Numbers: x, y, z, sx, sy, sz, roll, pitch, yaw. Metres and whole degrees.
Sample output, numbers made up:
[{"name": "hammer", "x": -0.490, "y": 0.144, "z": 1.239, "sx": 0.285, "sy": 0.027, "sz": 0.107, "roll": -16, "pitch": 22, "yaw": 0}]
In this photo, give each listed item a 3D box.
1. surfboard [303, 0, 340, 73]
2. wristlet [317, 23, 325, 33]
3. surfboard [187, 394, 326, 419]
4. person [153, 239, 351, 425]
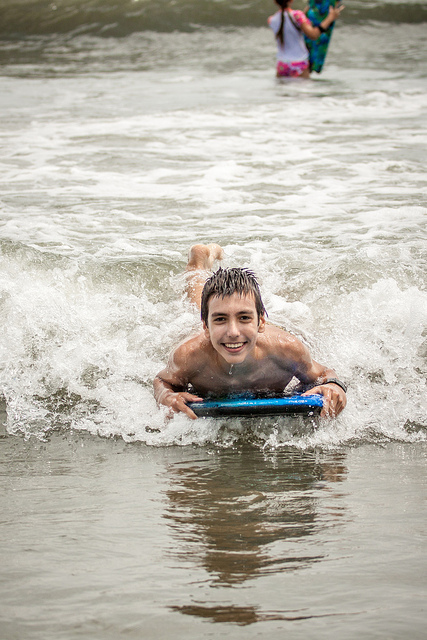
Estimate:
[{"name": "surfboard", "x": 1.212, "y": -3.234, "z": 10.141, "sx": 0.297, "sy": 1.005, "sz": 0.145, "roll": 3, "pitch": 56, "yaw": 7}, {"name": "wristlet", "x": 1.183, "y": -3.247, "z": 9.826, "sx": 0.064, "sy": 0.058, "sz": 0.021, "roll": 22, "pitch": 61, "yaw": 34}, {"name": "surfboard", "x": 0.215, "y": 0.417, "z": 4.210, "sx": 0.775, "sy": 0.414, "sz": 0.071, "roll": -1, "pitch": 92, "yaw": -10}, {"name": "person", "x": 0.213, "y": 0.100, "z": 4.791, "sx": 0.943, "sy": 1.756, "sz": 0.723, "roll": -1, "pitch": 100, "yaw": 6}]
